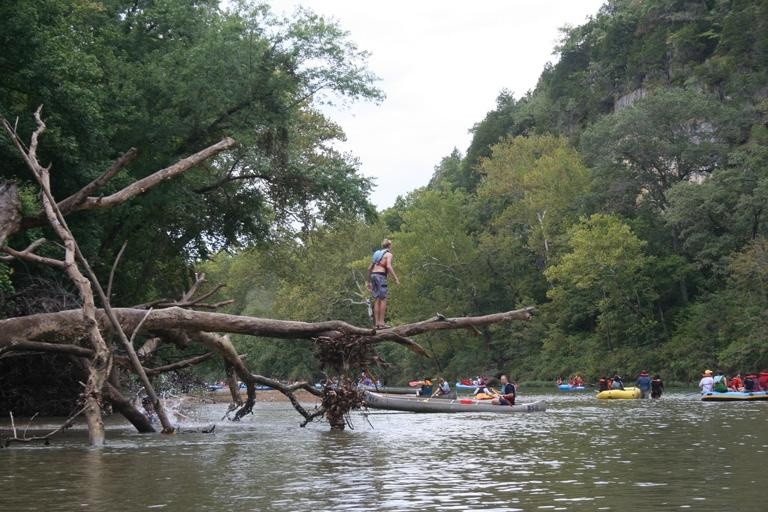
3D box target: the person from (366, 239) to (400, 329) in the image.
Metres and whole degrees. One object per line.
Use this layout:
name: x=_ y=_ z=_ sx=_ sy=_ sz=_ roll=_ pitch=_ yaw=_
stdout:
person: x=-0.069 y=1.106 z=50.335 sx=1.017 sy=3.774 sz=1.379 roll=-1 pitch=-9 yaw=-1

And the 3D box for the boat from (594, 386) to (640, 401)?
boat: x=13.743 y=8.083 z=71.460 sx=2.439 sy=0.689 sz=1.302 roll=-3 pitch=-10 yaw=11

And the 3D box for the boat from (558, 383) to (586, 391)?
boat: x=13.205 y=9.214 z=85.838 sx=1.917 sy=0.734 sz=3.865 roll=-3 pitch=-10 yaw=8
